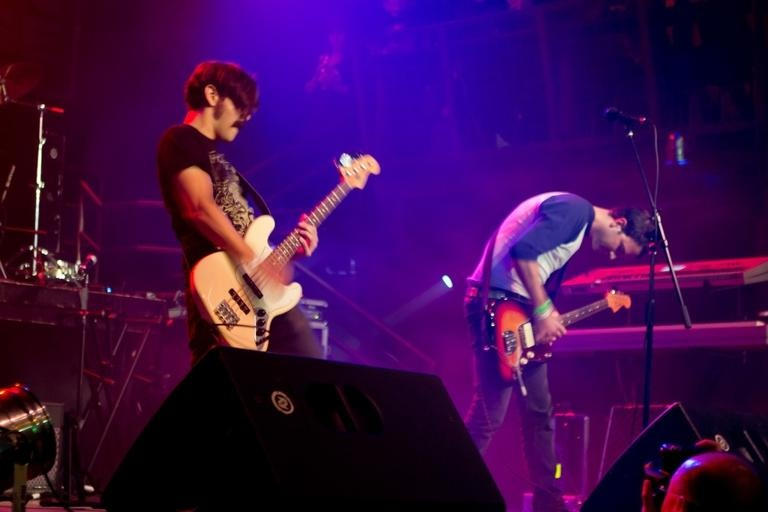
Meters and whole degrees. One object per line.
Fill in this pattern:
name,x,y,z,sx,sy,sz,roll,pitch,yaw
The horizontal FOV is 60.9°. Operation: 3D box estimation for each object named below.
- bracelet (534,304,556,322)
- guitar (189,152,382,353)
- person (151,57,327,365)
bracelet,1.191,0.417,4.827,0.111,0.087,0.118,-34,18,14
guitar,-0.597,-0.096,4.043,0.164,0.551,1.401,-20,26,48
person,-0.847,-0.251,3.669,0.817,2.004,0.254,4,-18,-41
